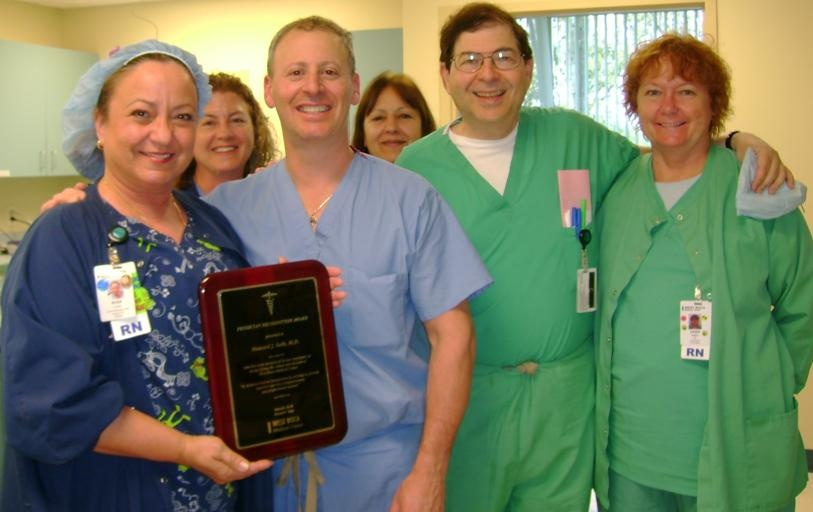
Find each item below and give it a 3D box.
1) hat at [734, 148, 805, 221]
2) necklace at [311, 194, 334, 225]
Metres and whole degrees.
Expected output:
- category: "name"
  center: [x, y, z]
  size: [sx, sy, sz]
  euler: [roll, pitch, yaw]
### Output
- category: "hat"
  center: [1.450, -0.263, 2.717]
  size: [0.268, 0.257, 0.109]
  euler: [-1, -15, -17]
- category: "necklace"
  center: [-0.330, -0.169, 2.548]
  size: [0.036, 0.120, 0.073]
  euler: [34, -5, -31]
